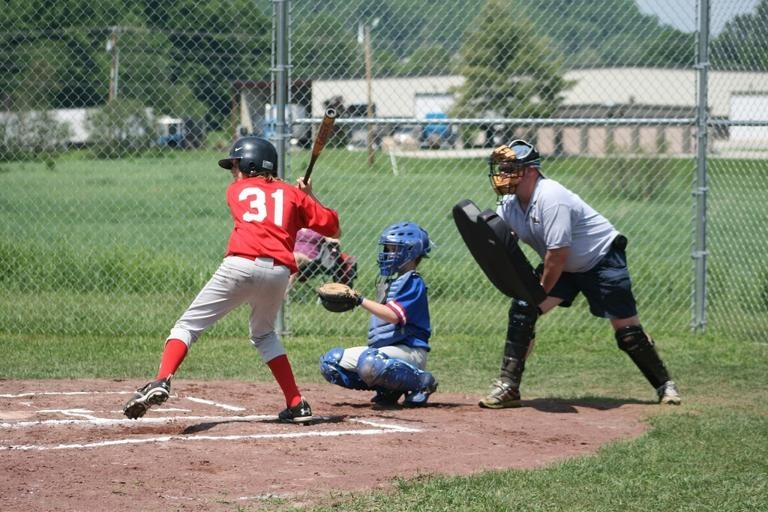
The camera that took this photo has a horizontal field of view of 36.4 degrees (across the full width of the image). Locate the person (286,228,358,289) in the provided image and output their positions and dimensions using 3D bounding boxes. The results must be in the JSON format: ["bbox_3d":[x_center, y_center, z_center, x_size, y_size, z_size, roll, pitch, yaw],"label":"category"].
[{"bbox_3d":[-0.671,0.039,15.946,0.828,0.775,1.048,5,-5,-42],"label":"person"}]

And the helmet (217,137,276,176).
[{"bbox_3d":[-1.429,-1.088,12.639,0.601,0.314,0.406,6,1,4],"label":"helmet"}]

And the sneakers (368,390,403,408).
[{"bbox_3d":[0.018,1.624,13.225,0.374,0.237,0.186,2,-31,3],"label":"sneakers"}]

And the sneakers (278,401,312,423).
[{"bbox_3d":[-0.921,1.692,12.555,0.175,0.178,0.436,3,-4,-44],"label":"sneakers"}]
